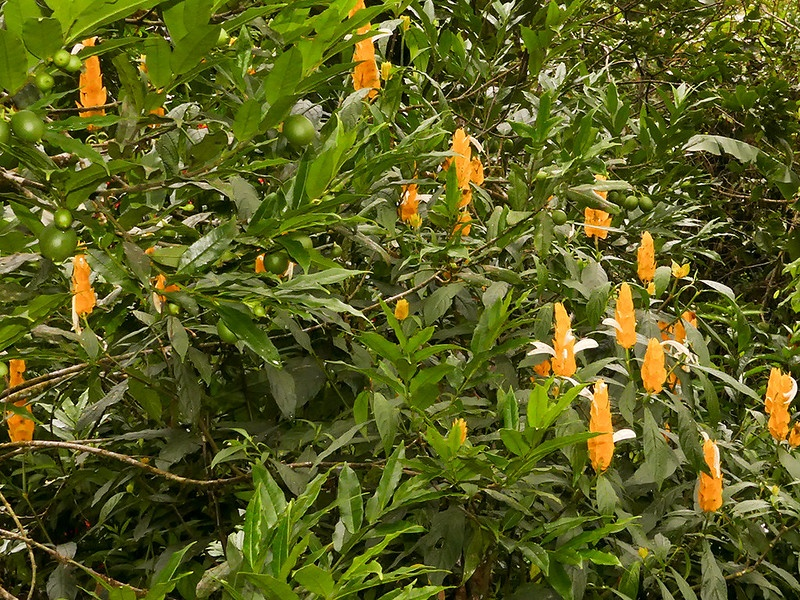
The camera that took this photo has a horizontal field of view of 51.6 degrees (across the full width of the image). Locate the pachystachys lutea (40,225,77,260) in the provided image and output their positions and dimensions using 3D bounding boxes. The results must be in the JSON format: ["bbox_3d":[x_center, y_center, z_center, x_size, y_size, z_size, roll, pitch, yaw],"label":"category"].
[{"bbox_3d":[-0.623,-0.103,1.539,0.060,0.055,0.067,6,78,-2],"label":"pachystachys lutea"}]
